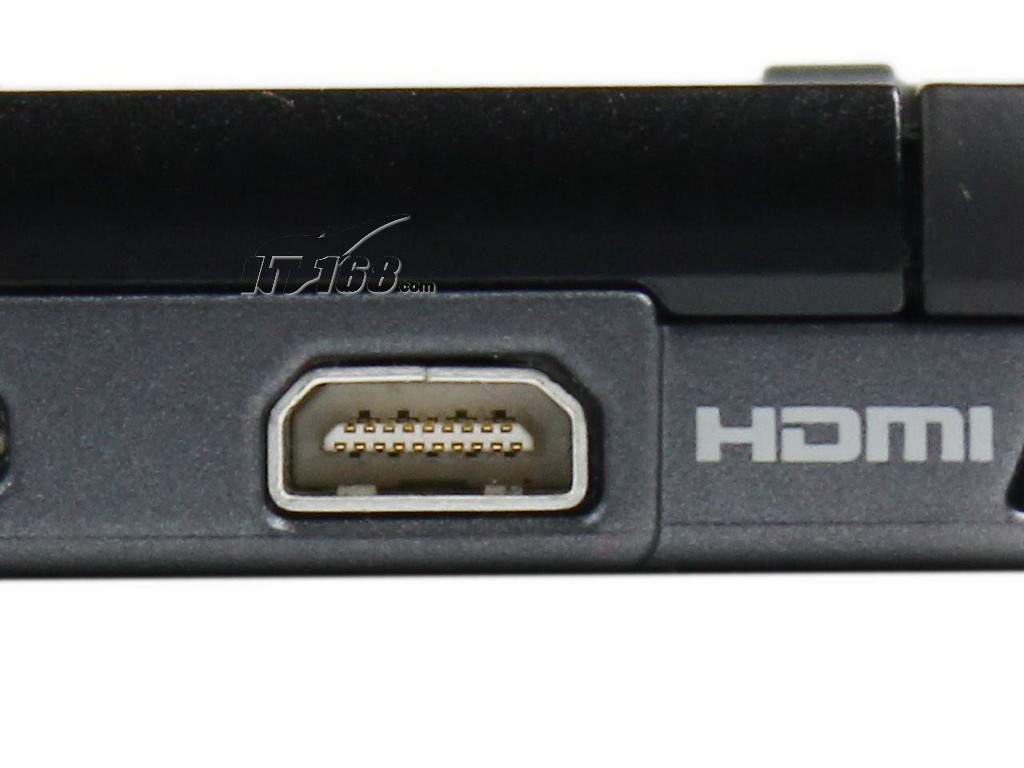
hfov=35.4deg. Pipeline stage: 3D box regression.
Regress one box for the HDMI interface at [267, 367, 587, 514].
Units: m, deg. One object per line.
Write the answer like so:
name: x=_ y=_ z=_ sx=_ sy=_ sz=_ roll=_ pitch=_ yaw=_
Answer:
HDMI interface: x=-0.092 y=0.058 z=1.768 sx=0.341 sy=0.051 sz=0.154 roll=0 pitch=91 yaw=-1
